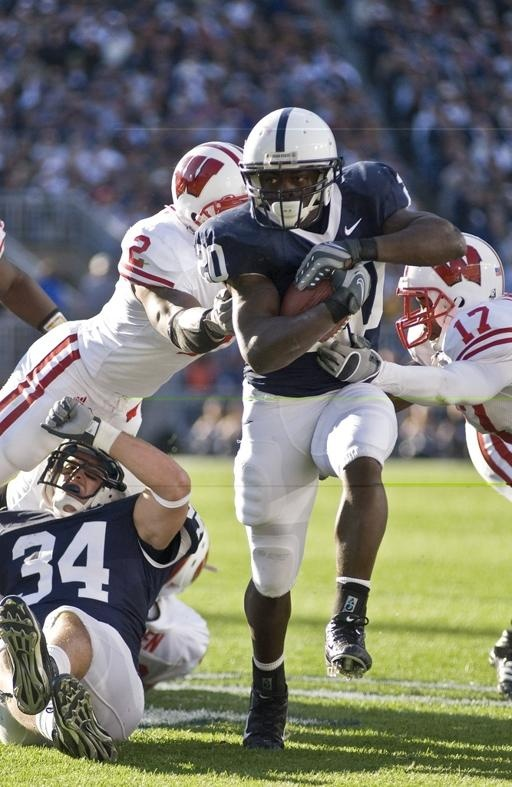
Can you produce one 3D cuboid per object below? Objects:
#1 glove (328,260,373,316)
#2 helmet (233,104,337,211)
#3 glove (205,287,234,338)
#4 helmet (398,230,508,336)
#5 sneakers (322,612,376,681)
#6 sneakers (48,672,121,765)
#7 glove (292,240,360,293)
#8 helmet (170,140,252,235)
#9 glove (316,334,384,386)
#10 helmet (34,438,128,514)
[{"bbox_3d":[0.174,-0.194,1.693,0.072,0.078,0.116,8,27,3],"label":"glove"},{"bbox_3d":[0.101,-0.467,1.851,0.200,0.185,0.229,-1,37,15],"label":"helmet"},{"bbox_3d":[-0.077,-0.163,1.813,0.050,0.067,0.095,-3,-8,-26],"label":"glove"},{"bbox_3d":[0.478,-0.277,2.294,0.332,0.255,0.233,-4,3,5],"label":"helmet"},{"bbox_3d":[0.174,0.483,1.717,0.080,0.121,0.136,7,28,1],"label":"sneakers"},{"bbox_3d":[-0.302,0.582,1.654,0.083,0.189,0.093,-32,17,-31],"label":"sneakers"},{"bbox_3d":[0.141,-0.242,1.691,0.113,0.099,0.044,6,51,-14],"label":"glove"},{"bbox_3d":[-0.136,-0.520,2.270,0.275,0.187,0.193,-4,6,0],"label":"helmet"},{"bbox_3d":[0.186,-0.077,1.944,0.122,0.057,0.103,33,9,39],"label":"glove"},{"bbox_3d":[-0.387,0.177,2.116,0.173,0.152,0.192,22,35,15],"label":"helmet"}]
